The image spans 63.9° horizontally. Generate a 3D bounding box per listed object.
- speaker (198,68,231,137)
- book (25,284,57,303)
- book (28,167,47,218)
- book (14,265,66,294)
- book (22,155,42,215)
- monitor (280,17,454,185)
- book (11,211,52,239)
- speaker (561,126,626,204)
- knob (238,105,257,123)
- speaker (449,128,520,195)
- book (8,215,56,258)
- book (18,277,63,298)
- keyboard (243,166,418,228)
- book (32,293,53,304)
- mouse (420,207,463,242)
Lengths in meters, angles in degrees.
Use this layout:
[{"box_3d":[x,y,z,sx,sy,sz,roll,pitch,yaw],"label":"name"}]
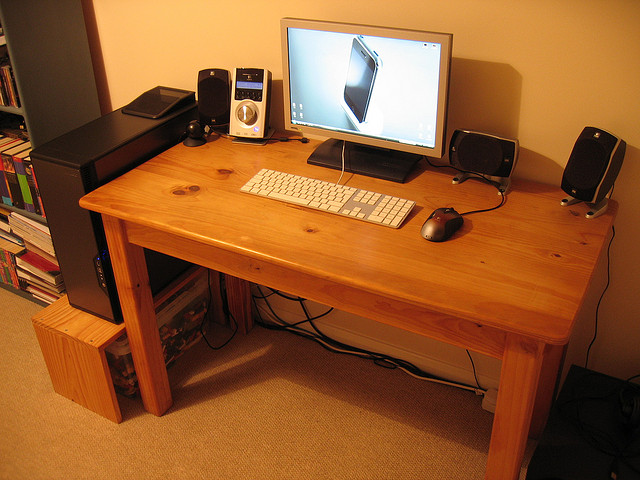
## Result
[{"box_3d":[-0.414,-0.554,2.069,0.141,0.231,0.134,-2,-6,-11],"label":"speaker"},{"box_3d":[-1.324,0.258,2.429,0.094,0.023,0.097,26,18,8],"label":"book"},{"box_3d":[-1.123,-0.194,2.037,0.025,0.201,0.150,-22,33,-22],"label":"book"},{"box_3d":[-1.322,0.191,2.392,0.170,0.041,0.171,30,41,15],"label":"book"},{"box_3d":[-1.234,-0.236,2.226,0.045,0.206,0.200,-16,23,-16],"label":"book"},{"box_3d":[0.173,-0.477,1.735,0.475,0.421,0.200,19,49,21],"label":"monitor"},{"box_3d":[-1.277,-0.071,2.283,0.143,0.034,0.145,28,16,-12],"label":"book"},{"box_3d":[0.852,-0.237,1.611,0.127,0.221,0.135,-22,39,-37],"label":"speaker"},{"box_3d":[-0.279,-0.481,1.966,0.046,0.049,0.025,23,12,2],"label":"knob"},{"box_3d":[0.554,-0.280,1.744,0.233,0.187,0.135,17,42,37],"label":"speaker"},{"box_3d":[-1.299,-0.018,2.325,0.188,0.053,0.197,28,20,4],"label":"book"},{"box_3d":[-1.281,0.233,2.393,0.106,0.026,0.111,23,29,16],"label":"book"},{"box_3d":[0.023,-0.147,1.686,0.570,0.044,0.164,13,32,18],"label":"keyboard"},{"box_3d":[-1.329,0.289,2.436,0.078,0.055,0.019,31,59,-6],"label":"book"},{"box_3d":[0.359,-0.052,1.546,0.096,0.054,0.166,17,39,29],"label":"mouse"}]
